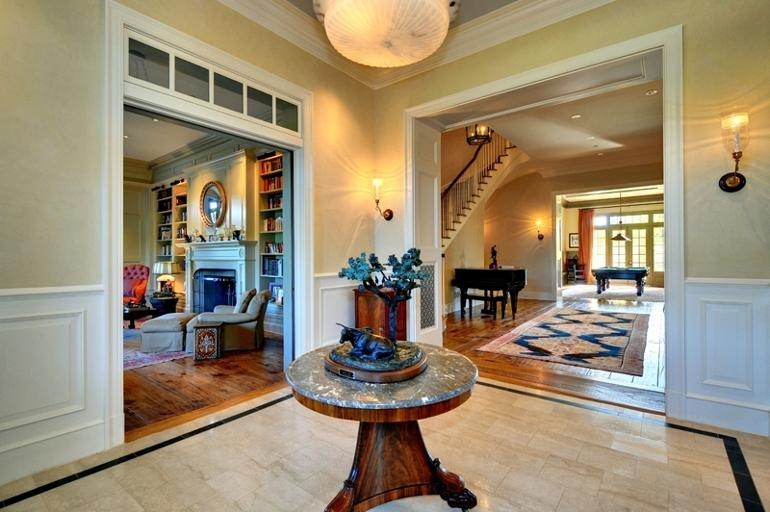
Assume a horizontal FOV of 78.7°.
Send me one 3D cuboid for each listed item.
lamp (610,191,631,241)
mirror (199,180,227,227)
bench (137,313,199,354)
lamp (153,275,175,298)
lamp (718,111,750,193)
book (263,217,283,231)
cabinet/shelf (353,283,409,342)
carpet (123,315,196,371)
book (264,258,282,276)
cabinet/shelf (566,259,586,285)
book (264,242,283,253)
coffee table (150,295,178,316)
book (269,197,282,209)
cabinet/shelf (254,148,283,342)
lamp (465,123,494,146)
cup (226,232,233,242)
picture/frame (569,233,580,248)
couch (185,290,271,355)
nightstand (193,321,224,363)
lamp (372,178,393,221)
[{"bbox_3d":[7.562,-1.200,14.894,0.513,1.583,2.796,2,4,27],"label":"lamp"},{"bbox_3d":[-3.133,-0.904,8.558,0.906,0.881,0.079,1,3,42],"label":"mirror"},{"bbox_3d":[-3.282,1.209,6.975,0.646,0.504,0.828,1,-8,-24],"label":"bench"},{"bbox_3d":[-4.421,0.604,9.419,0.447,0.455,0.438,0,-5,-9],"label":"lamp"},{"bbox_3d":[3.303,-0.963,4.433,0.233,0.734,0.135,2,4,23],"label":"lamp"},{"bbox_3d":[-1.930,-0.519,8.069,0.237,0.309,0.316,3,-4,-44],"label":"book"},{"bbox_3d":[-0.086,0.938,6.139,0.712,0.992,0.741,1,-5,-7],"label":"cabinet/shelf"},{"bbox_3d":[-3.267,1.208,6.674,0.688,0.424,0.870,0,-1,12],"label":"carpet"},{"bbox_3d":[-1.897,0.181,8.129,0.376,0.372,0.272,1,0,24],"label":"book"},{"bbox_3d":[6.732,0.515,16.575,0.617,0.842,0.413,1,4,19],"label":"cabinet/shelf"},{"bbox_3d":[-1.916,-0.139,8.069,0.269,0.093,0.202,1,4,11],"label":"book"},{"bbox_3d":[-3.868,0.857,8.230,0.401,0.288,0.381,1,2,-10],"label":"coffee table"},{"bbox_3d":[-1.881,-0.866,8.239,0.187,0.246,0.258,-1,-2,17],"label":"book"},{"bbox_3d":[-1.833,-0.301,7.969,0.598,2.897,0.326,-5,-6,19],"label":"cabinet/shelf"},{"bbox_3d":[1.580,-1.992,7.880,0.465,0.371,0.470,-2,1,17],"label":"lamp"},{"bbox_3d":[-2.687,-0.312,8.108,0.114,0.109,0.103,-3,2,-22],"label":"cup"},{"bbox_3d":[6.866,-0.547,16.986,0.529,0.609,0.045,4,0,42],"label":"picture/frame"},{"bbox_3d":[-2.358,0.980,6.994,1.129,0.755,1.228,-3,0,-20],"label":"couch"},{"bbox_3d":[-2.497,1.202,6.440,0.440,0.454,0.447,-2,-7,7],"label":"nightstand"},{"bbox_3d":[-0.020,-0.740,6.228,0.284,0.550,0.098,3,5,38],"label":"lamp"}]
